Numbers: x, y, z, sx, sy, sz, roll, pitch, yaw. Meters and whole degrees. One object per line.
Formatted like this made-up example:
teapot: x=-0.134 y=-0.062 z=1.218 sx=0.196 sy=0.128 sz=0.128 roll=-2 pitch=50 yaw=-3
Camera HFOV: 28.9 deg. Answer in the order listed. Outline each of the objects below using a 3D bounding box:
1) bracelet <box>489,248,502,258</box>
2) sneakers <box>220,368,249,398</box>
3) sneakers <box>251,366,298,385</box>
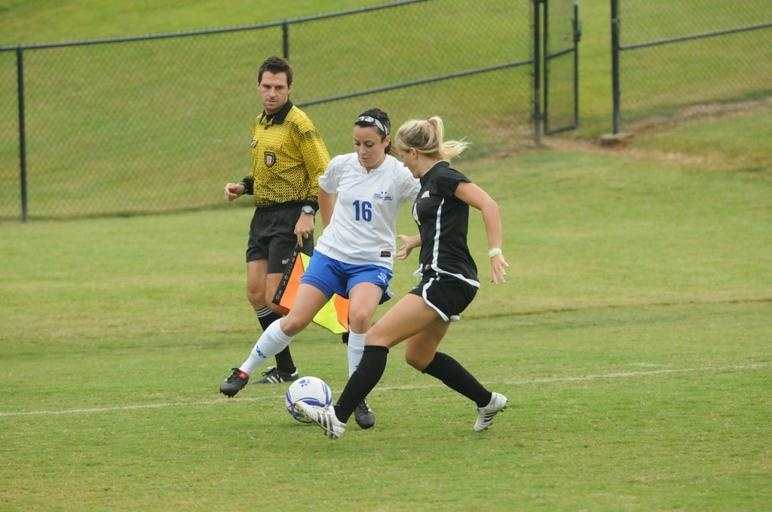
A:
bracelet: x=1.141 y=-0.023 z=15.327 sx=0.129 sy=0.072 sz=0.108 roll=0 pitch=-5 yaw=-1
sneakers: x=-1.572 y=1.356 z=16.050 sx=0.230 sy=0.163 sz=0.455 roll=-39 pitch=3 yaw=15
sneakers: x=-1.235 y=1.367 z=16.924 sx=0.585 sy=0.168 sz=0.177 roll=-1 pitch=-5 yaw=-3
